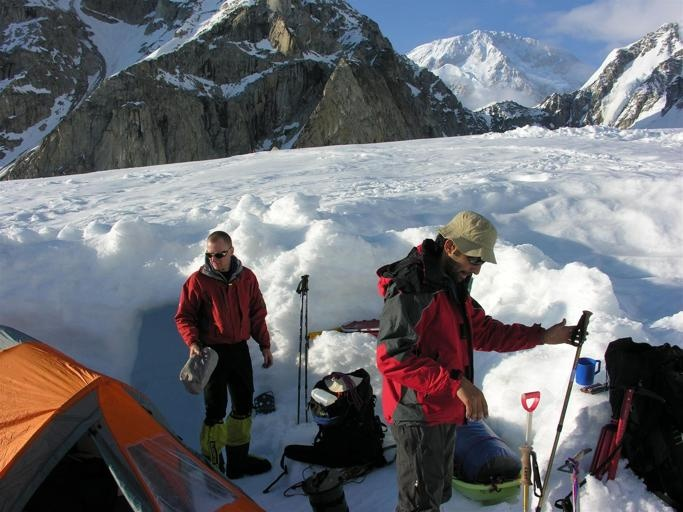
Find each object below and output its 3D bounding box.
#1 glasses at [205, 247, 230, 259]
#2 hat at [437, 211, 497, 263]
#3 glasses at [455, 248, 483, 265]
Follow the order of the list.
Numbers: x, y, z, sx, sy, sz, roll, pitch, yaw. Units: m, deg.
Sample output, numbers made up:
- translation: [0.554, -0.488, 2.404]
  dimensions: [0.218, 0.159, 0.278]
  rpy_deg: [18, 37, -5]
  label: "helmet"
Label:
- translation: [-1.597, -0.021, 8.549]
  dimensions: [0.311, 0.122, 0.090]
  rpy_deg: [-1, 26, 12]
  label: "glasses"
- translation: [1.412, -0.222, 7.191]
  dimensions: [0.605, 0.322, 0.498]
  rpy_deg: [34, 13, 13]
  label: "hat"
- translation: [1.399, 0.027, 7.098]
  dimensions: [0.162, 0.060, 0.217]
  rpy_deg: [16, 15, -33]
  label: "glasses"
